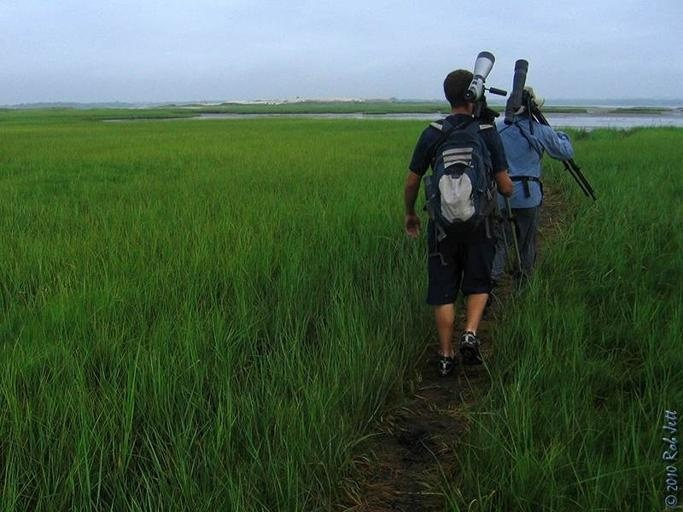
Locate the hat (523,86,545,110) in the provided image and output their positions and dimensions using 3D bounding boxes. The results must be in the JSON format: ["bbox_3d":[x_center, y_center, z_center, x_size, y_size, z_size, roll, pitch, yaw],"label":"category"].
[{"bbox_3d":[1.905,-1.575,5.570,0.179,0.211,0.449,2,15,17],"label":"hat"}]

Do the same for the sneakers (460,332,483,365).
[{"bbox_3d":[1.043,0.705,4.430,0.143,0.177,0.370,-1,-26,31],"label":"sneakers"}]

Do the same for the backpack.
[{"bbox_3d":[0.883,-0.628,4.263,0.487,0.828,0.457,-2,21,8],"label":"backpack"}]

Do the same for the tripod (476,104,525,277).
[{"bbox_3d":[1.726,-0.605,5.665,0.500,1.941,0.453,-2,17,32],"label":"tripod"}]

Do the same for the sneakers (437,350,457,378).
[{"bbox_3d":[0.820,0.859,4.421,0.080,0.103,0.239,0,6,21],"label":"sneakers"}]
